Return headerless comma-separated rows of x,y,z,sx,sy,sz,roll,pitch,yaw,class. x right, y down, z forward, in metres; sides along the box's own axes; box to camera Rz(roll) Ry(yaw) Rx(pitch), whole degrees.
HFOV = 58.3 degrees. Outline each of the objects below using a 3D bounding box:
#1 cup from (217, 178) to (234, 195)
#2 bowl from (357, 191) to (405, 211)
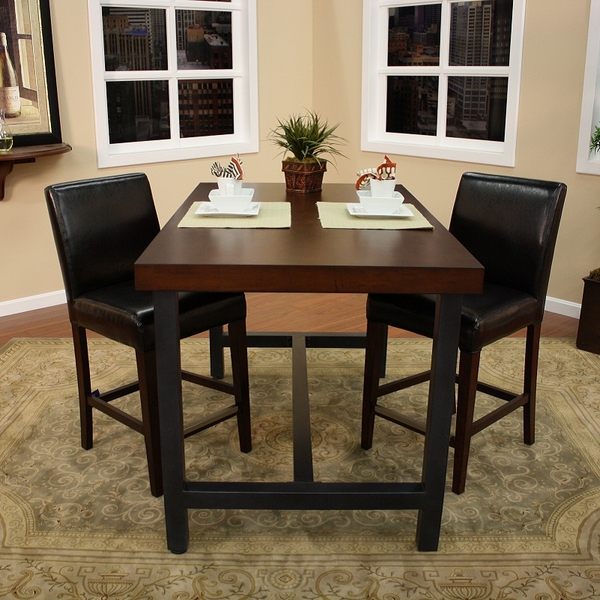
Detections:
-0.238,-0.357,1.681,0.039,0.046,0.069,0,35,0,cup
0.259,-0.314,1.702,0.102,0.025,0.096,1,24,0,bowl
